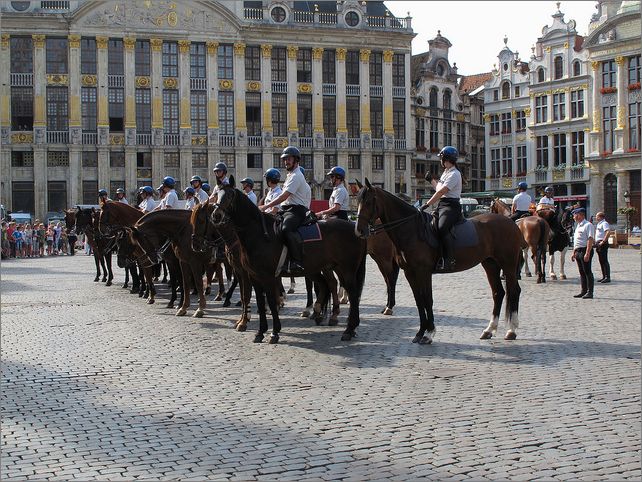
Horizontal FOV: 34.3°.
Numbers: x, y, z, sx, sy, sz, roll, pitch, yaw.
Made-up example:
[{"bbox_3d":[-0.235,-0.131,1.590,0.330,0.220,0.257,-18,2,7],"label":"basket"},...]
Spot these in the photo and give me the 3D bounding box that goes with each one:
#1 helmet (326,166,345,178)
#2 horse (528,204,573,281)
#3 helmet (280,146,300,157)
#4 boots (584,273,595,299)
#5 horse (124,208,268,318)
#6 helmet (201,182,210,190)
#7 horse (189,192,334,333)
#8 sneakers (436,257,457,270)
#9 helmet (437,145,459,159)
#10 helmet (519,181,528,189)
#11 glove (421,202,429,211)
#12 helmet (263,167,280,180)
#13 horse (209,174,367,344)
[{"bbox_3d":[0.457,-1.904,28.922,0.422,0.191,0.284,12,-1,-13],"label":"helmet"},{"bbox_3d":[8.323,0.022,37.365,1.062,2.481,3.880,-2,5,-10],"label":"horse"},{"bbox_3d":[-0.774,-2.399,27.561,0.473,0.227,0.339,10,-10,-16],"label":"helmet"},{"bbox_3d":[8.053,1.363,31.368,0.276,0.744,0.247,0,1,5],"label":"boots"},{"bbox_3d":[-3.769,0.560,30.806,1.345,3.086,4.779,1,4,38],"label":"horse"},{"bbox_3d":[-3.812,-1.798,34.635,0.353,0.273,0.273,-1,9,4],"label":"helmet"},{"bbox_3d":[-0.887,0.565,27.414,4.959,3.831,1.483,2,-4,-30],"label":"horse"},{"bbox_3d":[3.178,0.589,26.473,0.490,0.259,0.259,-2,6,-15],"label":"sneakers"},{"bbox_3d":[3.224,-2.297,26.792,0.511,0.227,0.350,9,6,26],"label":"helmet"},{"bbox_3d":[6.886,-1.896,35.670,0.317,0.260,0.236,11,11,31],"label":"helmet"},{"bbox_3d":[2.670,-0.881,26.485,0.194,0.066,0.141,-32,11,-6],"label":"glove"},{"bbox_3d":[-1.310,-1.799,27.931,0.424,0.274,0.287,-3,13,-8],"label":"helmet"},{"bbox_3d":[-1.190,0.571,29.405,5.956,3.983,1.491,-1,6,-43],"label":"horse"}]
